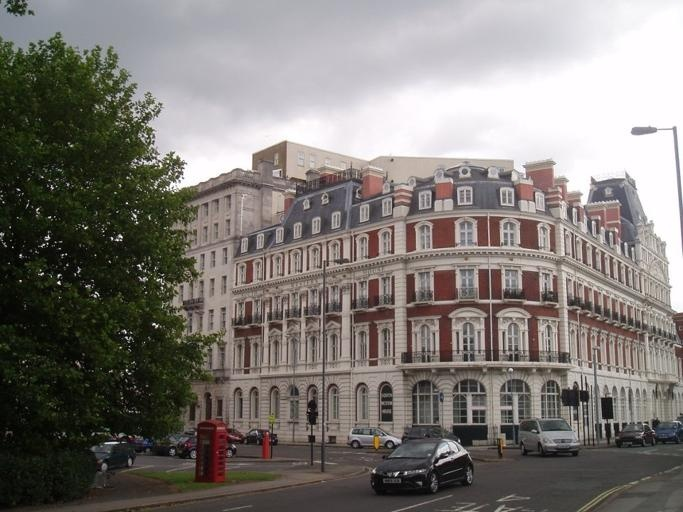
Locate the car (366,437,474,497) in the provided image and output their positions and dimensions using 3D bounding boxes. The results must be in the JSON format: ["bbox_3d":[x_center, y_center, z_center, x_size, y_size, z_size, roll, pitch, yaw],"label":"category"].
[{"bbox_3d":[3.299,8.894,41.584,3.702,2.228,3.281,-6,-11,20],"label":"car"}]

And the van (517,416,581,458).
[{"bbox_3d":[12.563,11.054,59.913,2.148,2.512,3.642,8,-20,-22],"label":"van"}]
